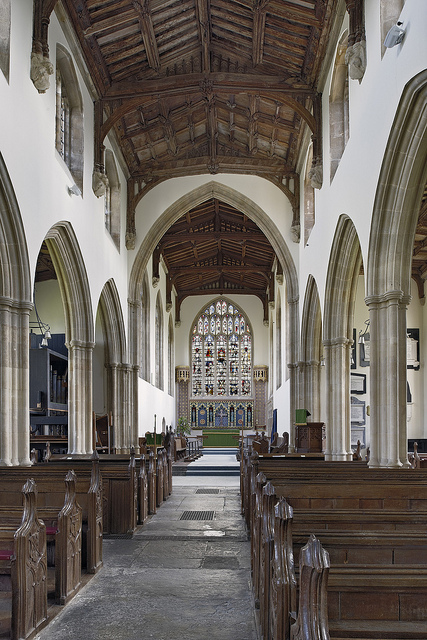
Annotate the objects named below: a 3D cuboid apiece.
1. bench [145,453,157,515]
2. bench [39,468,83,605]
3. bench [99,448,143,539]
[{"bbox_3d":[-0.789,2.068,9.116,0.066,0.808,0.166,-2,-11,7],"label":"bench"},{"bbox_3d":[-0.973,1.356,4.556,0.191,0.801,0.417,-1,-5,10],"label":"bench"},{"bbox_3d":[-0.937,1.822,7.187,0.402,0.924,0.539,0,-8,0],"label":"bench"}]
